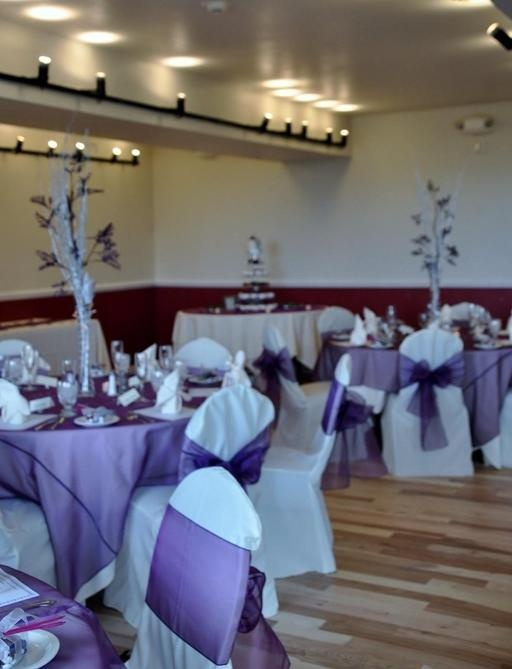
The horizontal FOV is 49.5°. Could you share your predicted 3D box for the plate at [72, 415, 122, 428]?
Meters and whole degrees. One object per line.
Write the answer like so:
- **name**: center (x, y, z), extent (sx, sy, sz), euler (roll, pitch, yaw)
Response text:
- **plate**: center (-0.612, 0.325, 2.118), extent (0.163, 0.036, 0.168), euler (-1, 4, -7)
